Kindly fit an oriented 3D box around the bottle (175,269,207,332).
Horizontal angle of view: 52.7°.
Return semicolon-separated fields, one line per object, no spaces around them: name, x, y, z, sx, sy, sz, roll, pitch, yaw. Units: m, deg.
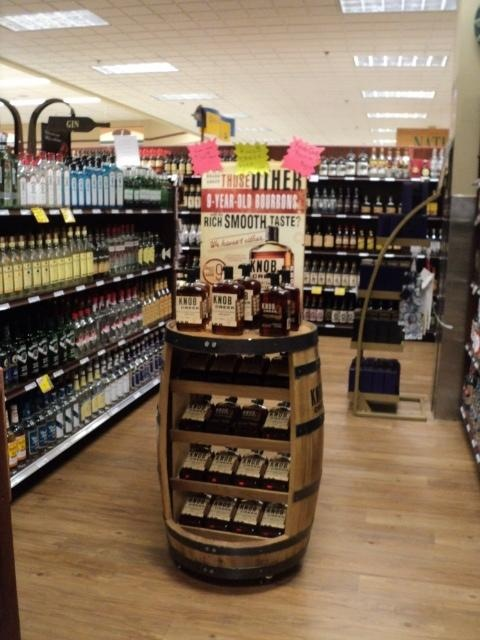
bottle;-0.195;-0.087;1.912;0.127;0.257;0.088;7;27;9

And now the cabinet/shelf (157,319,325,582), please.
cabinet/shelf;0.009;0.471;2.181;0.696;1.120;0.691;9;17;26

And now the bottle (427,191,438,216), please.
bottle;2.990;-1.754;7.504;0.153;0.264;0.173;6;14;23

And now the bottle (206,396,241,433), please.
bottle;-0.072;0.407;2.066;0.110;0.112;0.195;5;-4;1

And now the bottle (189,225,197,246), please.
bottle;-0.733;-1.338;7.666;0.170;0.268;0.090;-1;4;23

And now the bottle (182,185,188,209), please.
bottle;-0.847;-1.931;7.568;0.093;0.353;0.189;-1;13;-7

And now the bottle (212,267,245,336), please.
bottle;-0.031;-0.082;1.871;0.113;0.243;0.162;6;14;24

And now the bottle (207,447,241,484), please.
bottle;-0.070;0.625;2.089;0.097;0.105;0.166;2;20;7
